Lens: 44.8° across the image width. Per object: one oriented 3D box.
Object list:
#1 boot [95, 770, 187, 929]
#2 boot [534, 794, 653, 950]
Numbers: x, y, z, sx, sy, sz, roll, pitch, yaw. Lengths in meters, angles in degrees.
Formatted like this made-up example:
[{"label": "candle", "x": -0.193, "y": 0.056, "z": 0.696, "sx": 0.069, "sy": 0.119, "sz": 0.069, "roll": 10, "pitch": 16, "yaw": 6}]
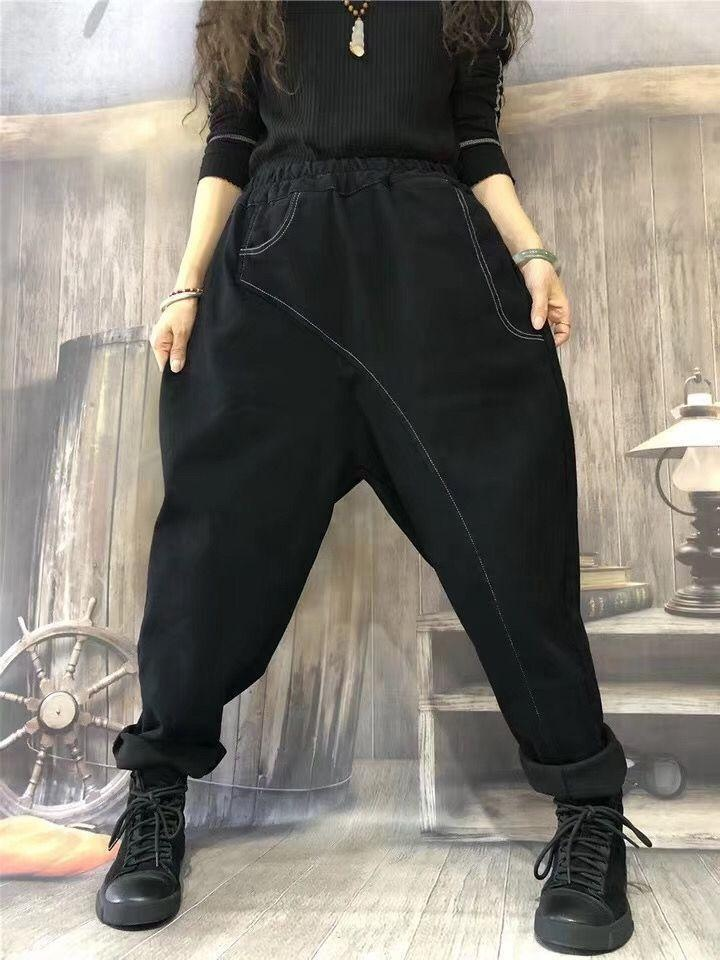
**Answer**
[{"label": "boot", "x": -0.253, "y": 0.423, "z": 1.018, "sx": 0.098, "sy": 0.151, "sz": 0.131, "roll": 1, "pitch": -4, "yaw": -13}, {"label": "boot", "x": 0.245, "y": 0.436, "z": 0.969, "sx": 0.104, "sy": 0.132, "sz": 0.112, "roll": -1, "pitch": -5, "yaw": 16}]
